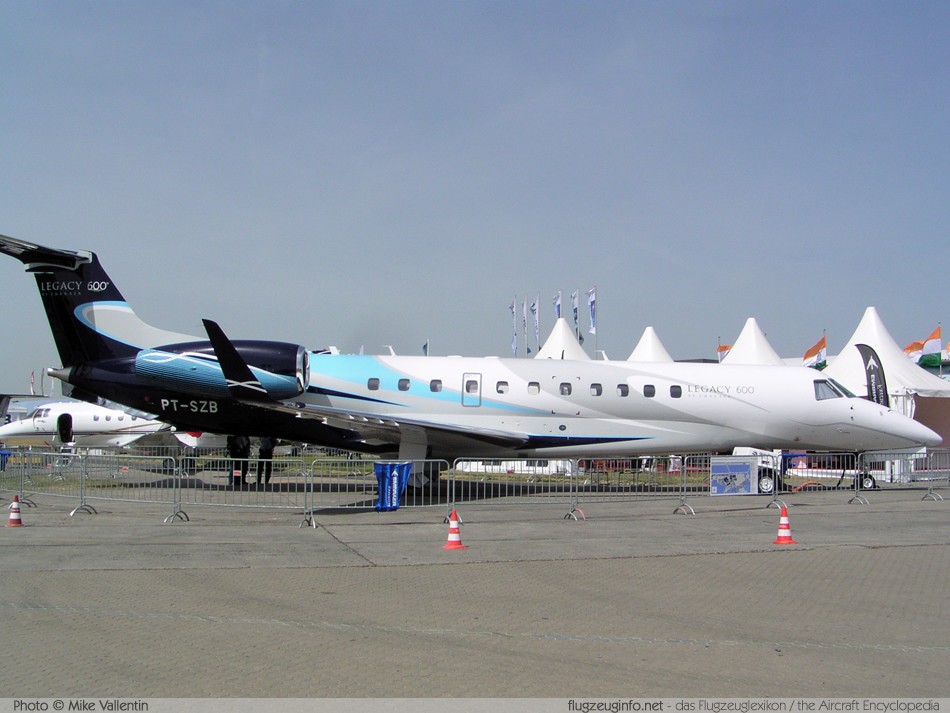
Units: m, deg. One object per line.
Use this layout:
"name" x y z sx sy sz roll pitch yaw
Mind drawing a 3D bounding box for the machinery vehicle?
"machinery vehicle" 9.326 2.838 26.992 4.147 0.682 3.531 -6 3 -12

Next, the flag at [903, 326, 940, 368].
"flag" 22.902 -0.152 50.163 2.567 0.312 2.843 10 -33 28
